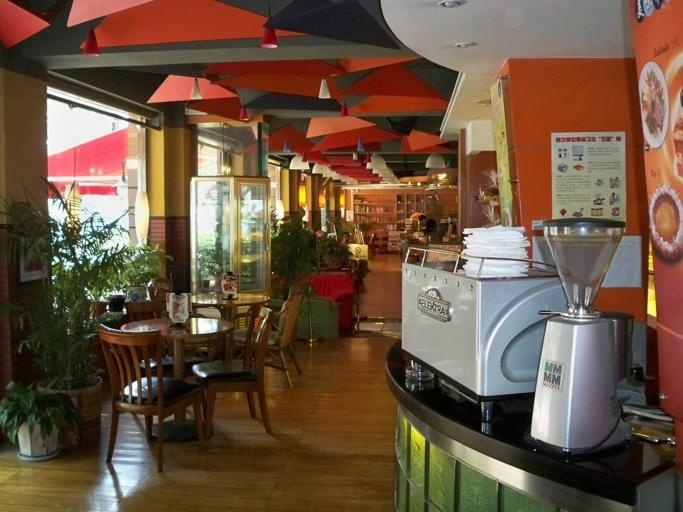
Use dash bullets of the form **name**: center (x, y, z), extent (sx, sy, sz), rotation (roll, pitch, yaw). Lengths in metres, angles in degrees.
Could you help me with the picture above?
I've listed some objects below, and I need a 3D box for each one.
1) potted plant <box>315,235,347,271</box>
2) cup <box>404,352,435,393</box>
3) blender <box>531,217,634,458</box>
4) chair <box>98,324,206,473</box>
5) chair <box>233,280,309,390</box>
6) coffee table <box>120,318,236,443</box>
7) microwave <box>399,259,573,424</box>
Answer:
- **potted plant**: center (-0.194, -0.076, 12.207), extent (0.664, 0.530, 0.663), rotation (1, -2, 2)
- **cup**: center (0.423, 0.653, 3.068), extent (0.162, 0.171, 0.162), rotation (-1, 2, 0)
- **blender**: center (0.978, 0.314, 2.236), extent (0.378, 0.932, 0.268), rotation (2, 5, 20)
- **chair**: center (-1.619, 1.109, 4.687), extent (0.635, 1.117, 0.713), rotation (2, 6, 21)
- **chair**: center (-0.660, 0.880, 7.022), extent (1.089, 1.491, 0.938), rotation (3, 1, 6)
- **coffee table**: center (-1.500, 0.975, 5.272), extent (0.807, 0.649, 0.768), rotation (-12, 6, -33)
- **microwave**: center (0.700, 0.342, 2.740), extent (0.546, 0.644, 0.948), rotation (1, 1, -12)
